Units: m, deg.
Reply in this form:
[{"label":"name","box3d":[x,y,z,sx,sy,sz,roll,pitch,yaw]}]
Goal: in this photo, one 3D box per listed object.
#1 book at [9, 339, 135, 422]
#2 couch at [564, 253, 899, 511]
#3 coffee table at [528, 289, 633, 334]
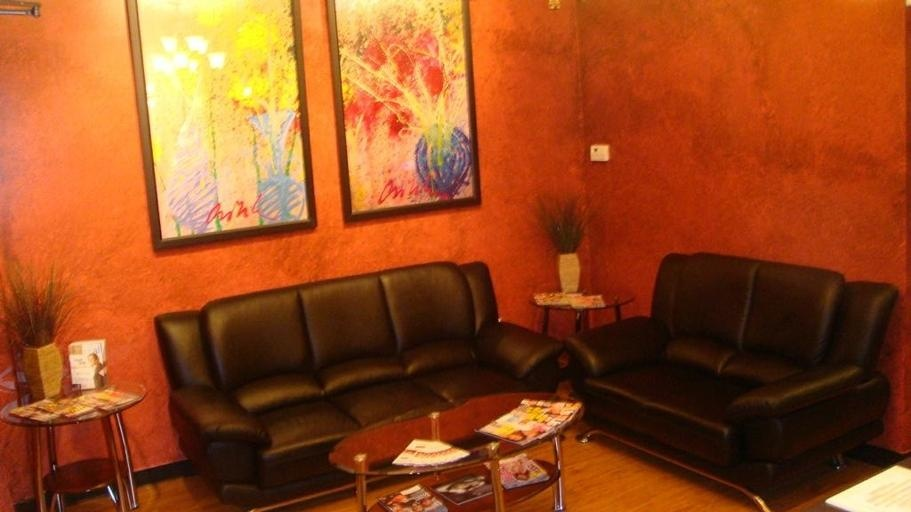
[{"label":"book","box3d":[-2.753,0.899,4.765,0.778,0.422,0.622,-15,18,-35]},{"label":"couch","box3d":[2.112,0.873,5.183,1.926,1.546,1.304,9,22,43]},{"label":"coffee table","box3d":[1.369,0.568,6.283,0.674,0.260,0.605,-10,-7,-15]}]
